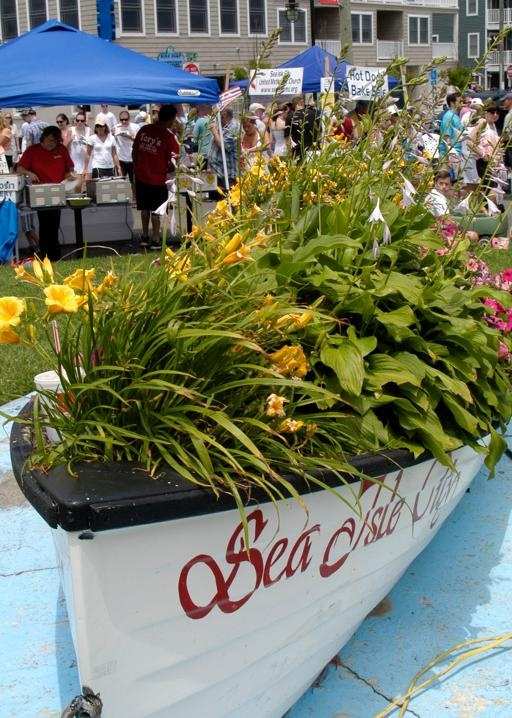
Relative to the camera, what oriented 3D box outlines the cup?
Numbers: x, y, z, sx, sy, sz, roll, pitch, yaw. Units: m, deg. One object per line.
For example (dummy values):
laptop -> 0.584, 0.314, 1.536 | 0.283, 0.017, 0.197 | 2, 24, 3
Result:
cup -> -0.430, 0.108, 1.313 | 0.116, 0.162, 0.115 | 4, 26, -2
